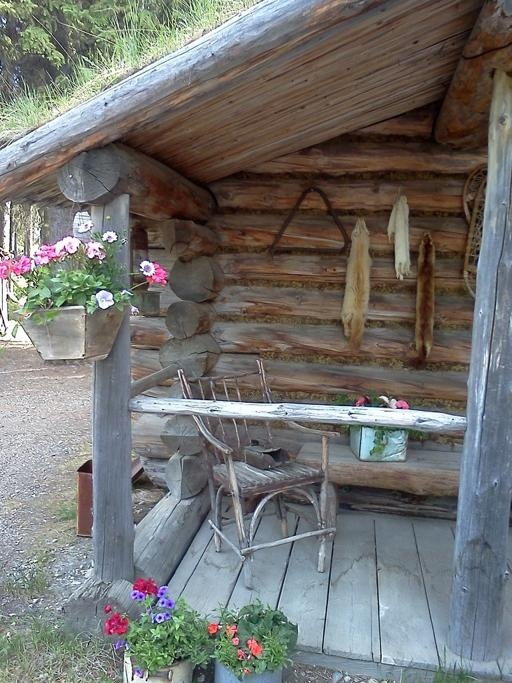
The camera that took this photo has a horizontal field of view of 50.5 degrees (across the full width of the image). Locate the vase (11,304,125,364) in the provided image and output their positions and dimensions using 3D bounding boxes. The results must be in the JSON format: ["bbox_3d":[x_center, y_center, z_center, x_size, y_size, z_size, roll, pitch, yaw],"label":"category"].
[{"bbox_3d":[-0.688,-0.035,2.050,0.356,0.167,0.295,-2,-2,14],"label":"vase"}]

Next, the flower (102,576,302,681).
[{"bbox_3d":[-0.190,1.016,1.901,0.614,0.176,0.379,-2,44,-13],"label":"flower"}]

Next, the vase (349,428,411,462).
[{"bbox_3d":[0.733,0.563,3.120,0.255,0.140,0.236,1,0,-3],"label":"vase"}]

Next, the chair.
[{"bbox_3d":[0.025,0.629,3.152,0.902,1.059,1.623,2,7,-3],"label":"chair"}]
